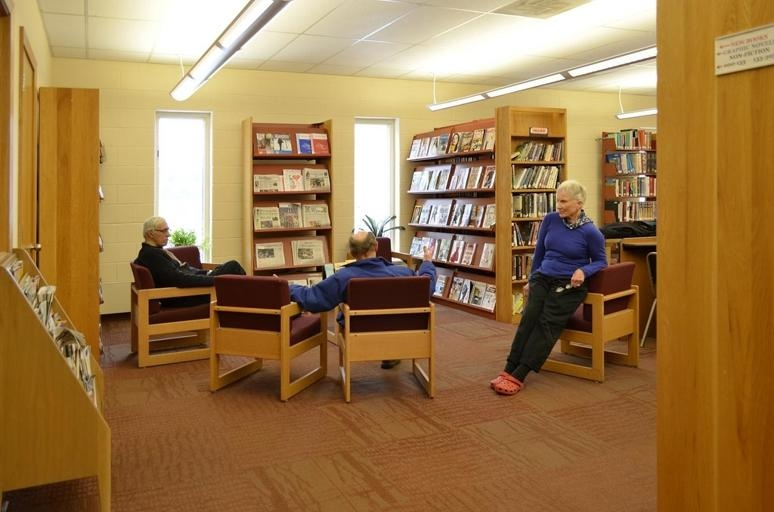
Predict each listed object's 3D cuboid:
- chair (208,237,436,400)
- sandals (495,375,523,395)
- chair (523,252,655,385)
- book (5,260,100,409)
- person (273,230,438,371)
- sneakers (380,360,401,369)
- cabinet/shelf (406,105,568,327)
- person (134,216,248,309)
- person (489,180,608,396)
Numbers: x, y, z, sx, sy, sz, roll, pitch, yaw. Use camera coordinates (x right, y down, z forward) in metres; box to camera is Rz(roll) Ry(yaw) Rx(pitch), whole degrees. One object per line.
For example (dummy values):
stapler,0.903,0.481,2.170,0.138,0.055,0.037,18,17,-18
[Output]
chair,-0.480,0.493,5.463,1.193,1.288,2.111,2,5,20
sandals,1.074,1.137,4.793,0.251,0.134,0.175,1,9,9
chair,2.080,0.606,5.743,1.002,1.240,1.176,-1,3,-43
book,-1.882,0.414,3.055,0.308,0.862,0.935,-23,9,-28
person,-0.269,0.237,4.866,0.877,0.944,1.148,-2,5,-19
sneakers,0.041,1.084,5.540,0.074,0.093,0.247,3,6,32
cabinet/shelf,1.329,-0.474,7.068,1.327,2.953,3.342,2,-3,-20
person,-2.179,0.083,5.990,1.274,0.845,0.817,-2,2,-25
person,1.453,0.243,5.016,1.033,1.800,0.613,-7,11,-36
